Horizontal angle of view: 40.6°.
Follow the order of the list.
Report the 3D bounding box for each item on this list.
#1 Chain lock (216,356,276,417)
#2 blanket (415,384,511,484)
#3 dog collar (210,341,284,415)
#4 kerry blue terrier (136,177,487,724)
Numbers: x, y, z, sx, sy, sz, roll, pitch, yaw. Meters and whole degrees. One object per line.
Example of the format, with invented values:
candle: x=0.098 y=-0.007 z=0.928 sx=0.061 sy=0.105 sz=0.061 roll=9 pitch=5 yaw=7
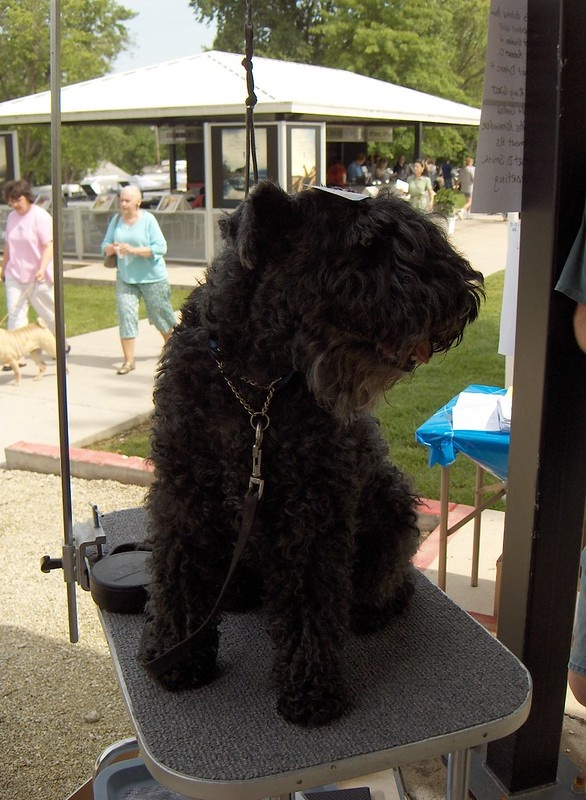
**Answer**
Chain lock: x=-0.104 y=-0.018 z=1.679 sx=0.028 sy=0.130 sz=0.083 roll=-21 pitch=7 yaw=46
blanket: x=0.673 y=0.169 z=3.209 sx=0.391 sy=0.119 sz=0.509 roll=7 pitch=24 yaw=22
dog collar: x=-0.101 y=-0.045 z=1.673 sx=0.113 sy=0.163 sz=0.036 roll=-28 pitch=4 yaw=-31
kerry blue terrier: x=0.023 y=0.099 z=1.725 sx=0.757 sy=1.103 sz=0.452 roll=-3 pitch=14 yaw=-12
